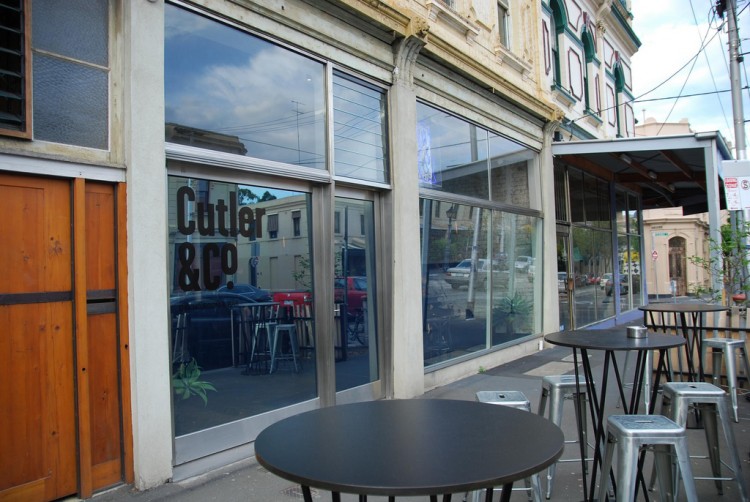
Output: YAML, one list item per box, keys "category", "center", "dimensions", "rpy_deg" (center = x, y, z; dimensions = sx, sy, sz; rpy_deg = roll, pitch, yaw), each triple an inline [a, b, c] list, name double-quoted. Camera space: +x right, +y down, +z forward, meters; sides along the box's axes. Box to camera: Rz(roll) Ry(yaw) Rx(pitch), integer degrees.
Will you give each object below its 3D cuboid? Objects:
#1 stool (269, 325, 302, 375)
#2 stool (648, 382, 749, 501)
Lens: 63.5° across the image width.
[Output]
- category: "stool"
  center: [-1.122, 1.202, 7.502]
  dimensions: [0.470, 0.711, 0.487]
  rpy_deg: [0, -8, -4]
- category: "stool"
  center: [3.566, 1.935, 6.524]
  dimensions: [1.036, 1.512, 1.079]
  rpy_deg: [-7, -4, 35]
